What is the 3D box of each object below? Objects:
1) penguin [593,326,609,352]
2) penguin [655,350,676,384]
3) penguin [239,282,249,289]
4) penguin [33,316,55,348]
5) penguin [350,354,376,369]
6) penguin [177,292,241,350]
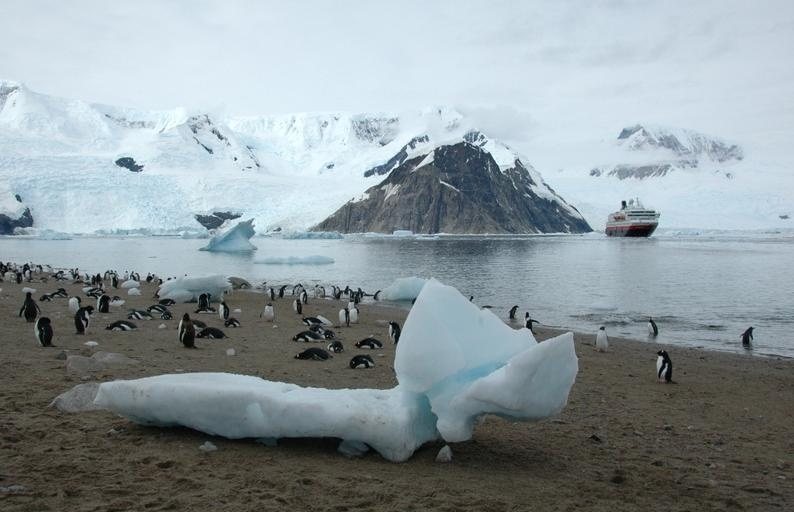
[{"bbox_3d":[6.055,2.437,21.359,0.365,0.710,0.679,0,3,13],"label":"penguin"},{"bbox_3d":[6.766,2.784,18.275,0.378,0.780,0.460,1,3,17],"label":"penguin"},{"bbox_3d":[-7.832,1.504,37.392,0.531,0.274,0.319,-2,3,-42],"label":"penguin"},{"bbox_3d":[-8.793,1.868,17.968,0.374,0.717,0.667,-2,3,-25],"label":"penguin"},{"bbox_3d":[-0.923,2.702,18.474,0.521,0.278,0.685,2,3,43],"label":"penguin"},{"bbox_3d":[-5.532,1.901,21.219,1.297,0.876,4.533,0,2,-6],"label":"penguin"}]
